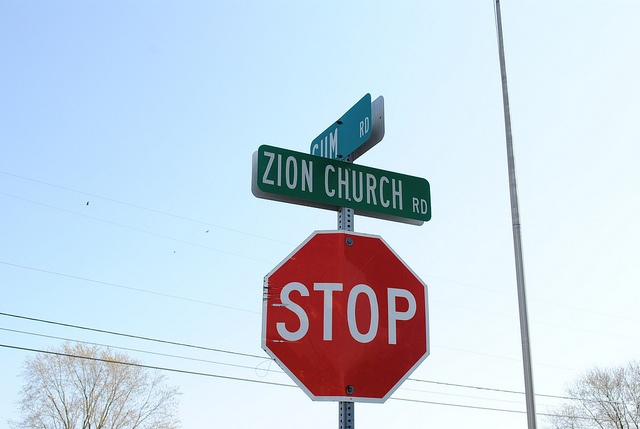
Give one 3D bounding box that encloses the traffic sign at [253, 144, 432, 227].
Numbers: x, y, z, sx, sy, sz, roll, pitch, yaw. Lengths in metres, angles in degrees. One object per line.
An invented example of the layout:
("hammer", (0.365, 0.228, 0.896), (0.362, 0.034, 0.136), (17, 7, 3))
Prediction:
("traffic sign", (0.305, -0.357, 7.965), (2.180, 0.464, 0.314), (12, -40, -12))
